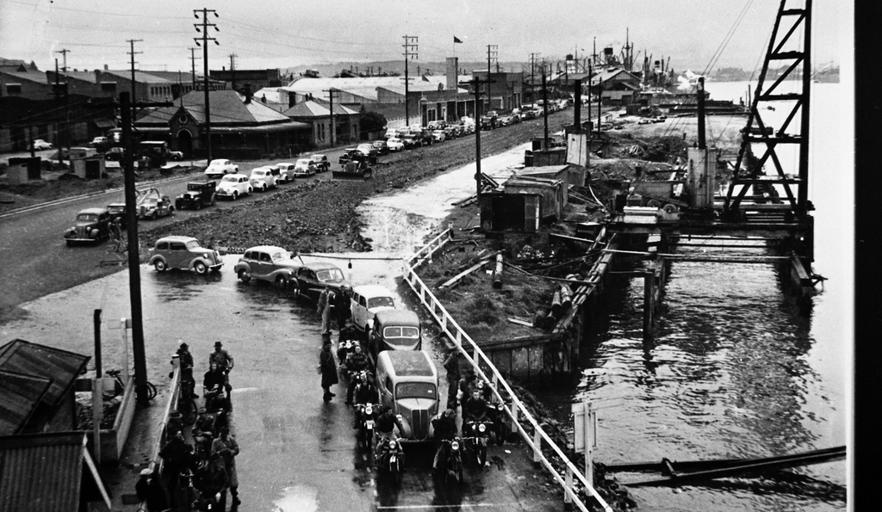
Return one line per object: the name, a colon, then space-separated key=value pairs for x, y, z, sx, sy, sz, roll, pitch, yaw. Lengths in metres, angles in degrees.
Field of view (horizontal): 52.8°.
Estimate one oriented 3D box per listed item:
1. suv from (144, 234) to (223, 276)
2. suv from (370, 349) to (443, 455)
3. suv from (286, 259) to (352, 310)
suv: x=-16.684 y=-0.013 z=57.972 sx=4.363 sy=2.117 sz=1.033 roll=4 pitch=14 yaw=7
suv: x=-1.472 y=6.039 z=40.297 sx=2.574 sy=2.669 sz=5.847 roll=0 pitch=18 yaw=-15
suv: x=-7.063 y=1.573 z=53.572 sx=2.753 sy=2.215 sz=4.771 roll=-6 pitch=16 yaw=-38
